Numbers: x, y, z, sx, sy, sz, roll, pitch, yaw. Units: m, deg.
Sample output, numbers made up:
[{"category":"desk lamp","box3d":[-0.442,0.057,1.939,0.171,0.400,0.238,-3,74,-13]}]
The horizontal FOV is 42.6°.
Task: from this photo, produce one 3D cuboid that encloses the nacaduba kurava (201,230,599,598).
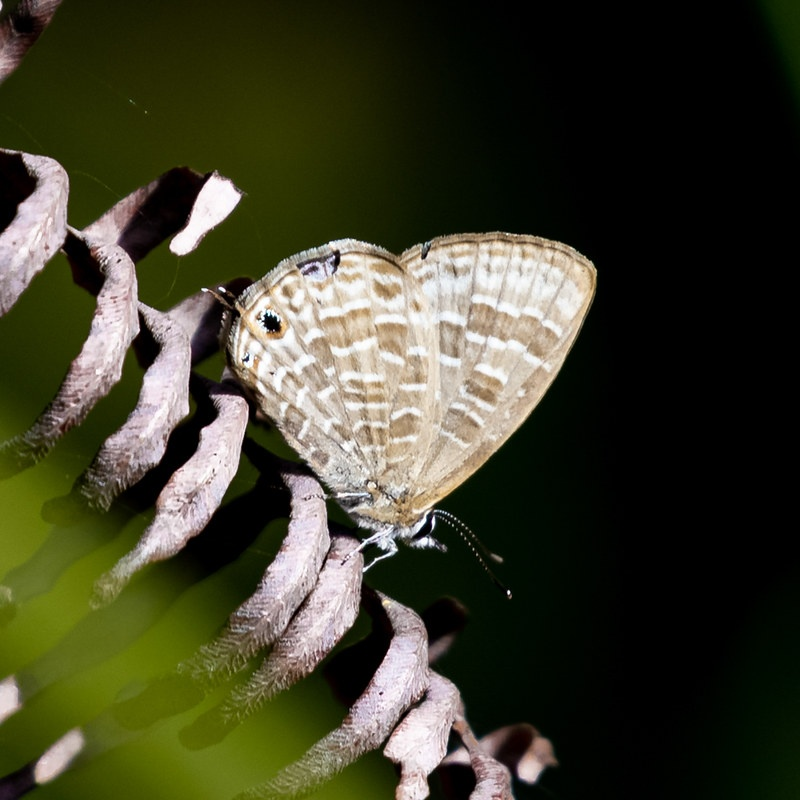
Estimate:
[{"category":"nacaduba kurava","box3d":[-0.017,-0.032,1.058,0.308,0.256,0.401,49,11,11]}]
